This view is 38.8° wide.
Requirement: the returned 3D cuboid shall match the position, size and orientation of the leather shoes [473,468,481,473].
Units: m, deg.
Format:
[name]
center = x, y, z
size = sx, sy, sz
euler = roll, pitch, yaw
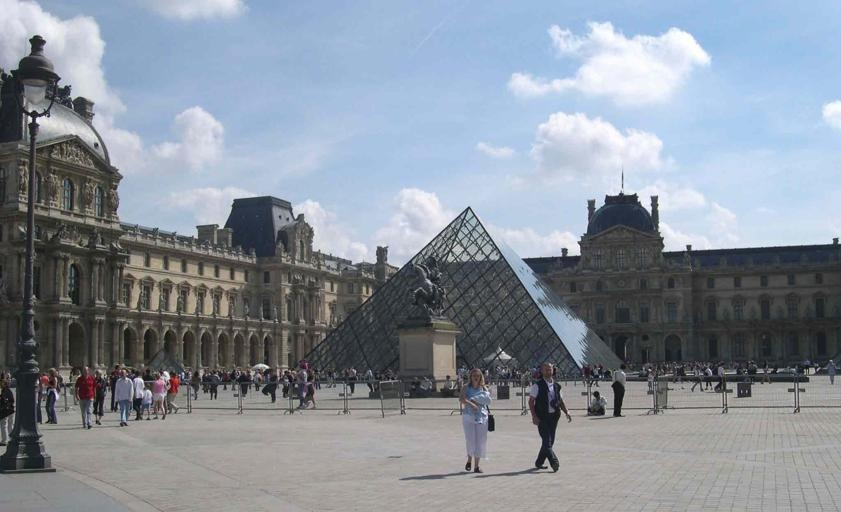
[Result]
[leather shoes]
center = 1.965, 7.322, 40.917
size = 0.297, 0.169, 0.151
euler = 5, -12, -29
